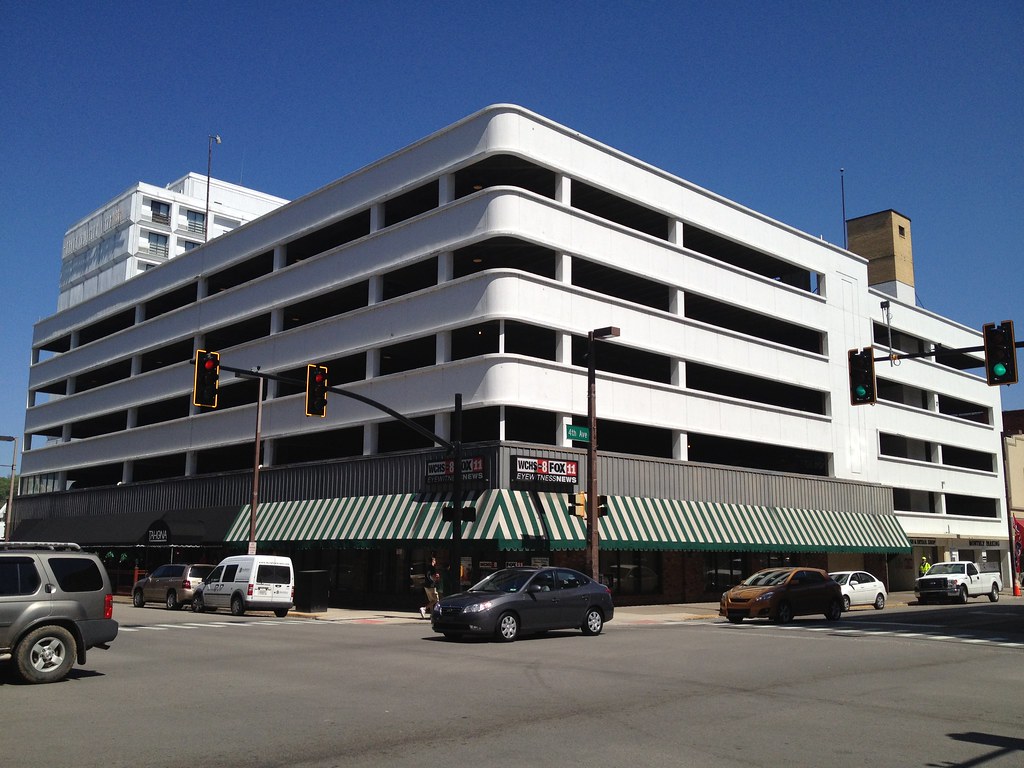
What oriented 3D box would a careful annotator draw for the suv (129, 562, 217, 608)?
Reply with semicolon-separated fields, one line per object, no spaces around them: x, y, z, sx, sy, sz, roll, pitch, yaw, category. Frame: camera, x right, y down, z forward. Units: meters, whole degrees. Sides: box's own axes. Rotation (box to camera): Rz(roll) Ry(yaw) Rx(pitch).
-15.057;9.035;39.202;2.229;2.149;5.325;6;-8;-44;suv

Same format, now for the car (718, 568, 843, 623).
9.056;7.113;30.081;4.222;1.950;1.449;11;-18;-29;car

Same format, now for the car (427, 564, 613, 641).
0.358;5.693;22.633;1.917;1.862;5.069;-6;-9;44;car
